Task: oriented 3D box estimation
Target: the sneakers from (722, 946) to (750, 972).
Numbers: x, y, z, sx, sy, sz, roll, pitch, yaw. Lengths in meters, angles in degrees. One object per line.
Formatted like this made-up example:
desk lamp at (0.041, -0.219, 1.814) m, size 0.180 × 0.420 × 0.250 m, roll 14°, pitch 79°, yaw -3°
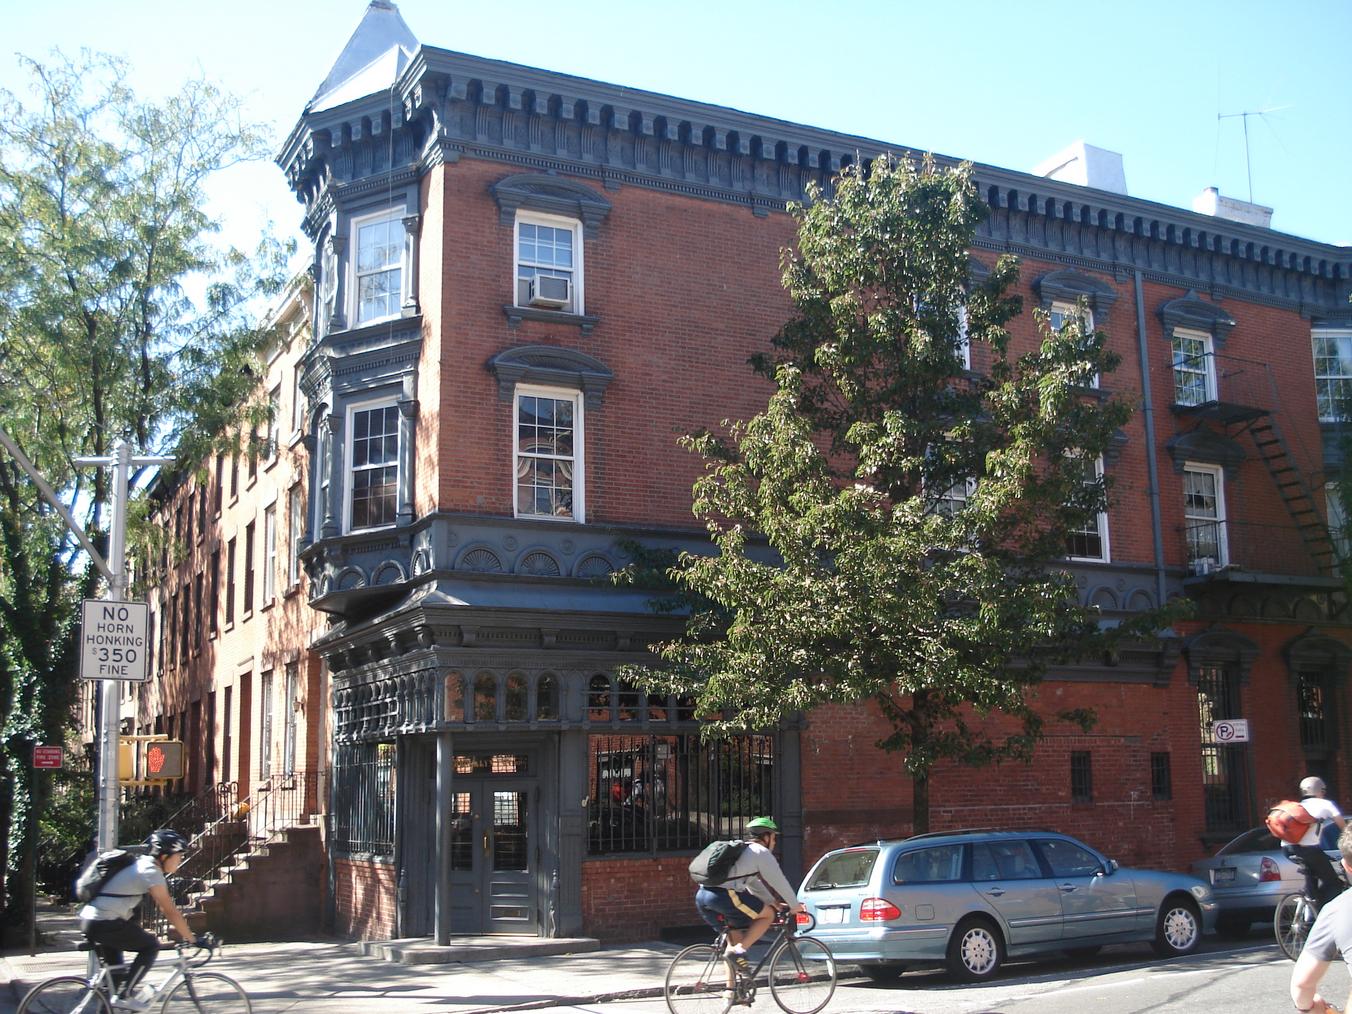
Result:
sneakers at (0.798, 6.059, 24.278) m, size 0.198 × 0.315 × 0.289 m, roll 10°, pitch -16°, yaw -41°

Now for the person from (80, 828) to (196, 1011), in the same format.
person at (-6.887, 5.214, 22.956) m, size 1.488 × 2.188 × 0.777 m, roll -7°, pitch -15°, yaw 13°

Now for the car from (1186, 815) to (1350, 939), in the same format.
car at (9.398, 6.157, 29.723) m, size 2.353 × 1.274 × 1.275 m, roll 0°, pitch -11°, yaw -39°

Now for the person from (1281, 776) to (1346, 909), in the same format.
person at (9.022, 4.950, 25.139) m, size 0.771 × 1.368 × 1.892 m, roll -14°, pitch -52°, yaw 16°
